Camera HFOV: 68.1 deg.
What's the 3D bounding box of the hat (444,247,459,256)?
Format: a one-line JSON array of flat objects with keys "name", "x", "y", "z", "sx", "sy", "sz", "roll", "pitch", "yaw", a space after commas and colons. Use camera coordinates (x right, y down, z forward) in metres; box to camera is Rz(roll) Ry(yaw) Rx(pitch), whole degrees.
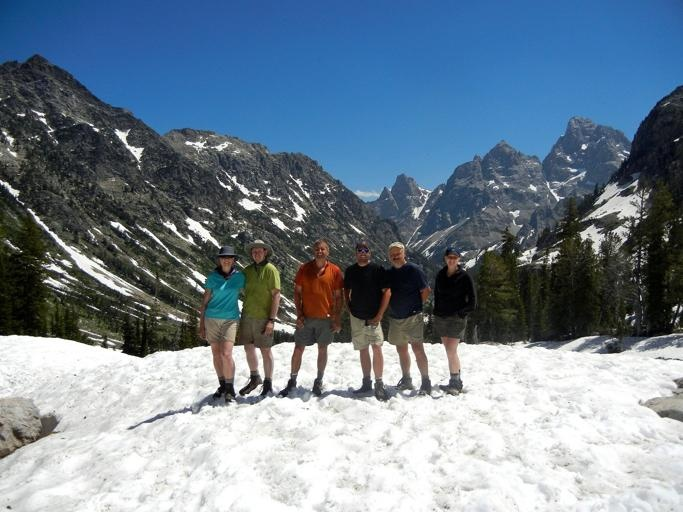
[{"name": "hat", "x": 3.421, "y": -0.136, "z": 15.839, "sx": 0.475, "sy": 0.284, "sz": 0.489, "roll": -4, "pitch": -11, "yaw": 13}]
